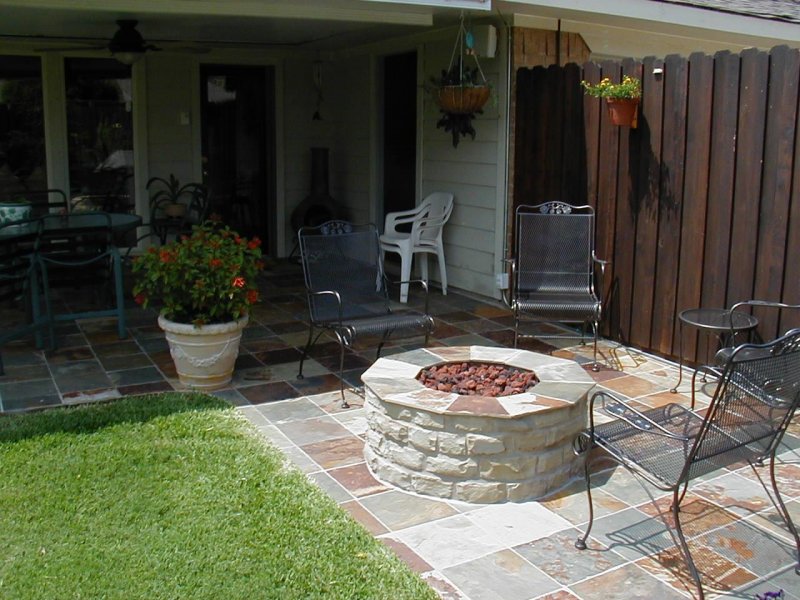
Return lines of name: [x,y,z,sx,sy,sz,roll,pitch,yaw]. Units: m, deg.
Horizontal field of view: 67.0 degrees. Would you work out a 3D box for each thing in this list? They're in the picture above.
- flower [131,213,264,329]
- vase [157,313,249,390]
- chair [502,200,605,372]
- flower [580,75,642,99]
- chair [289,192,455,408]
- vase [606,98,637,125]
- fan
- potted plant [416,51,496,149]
flower: [-1.595,-0.231,4.759,1.052,0.893,0.884,-4,14,-27]
vase: [-1.533,0.350,4.682,0.627,0.552,0.493,-1,14,-28]
chair: [1.456,-0.240,5.589,0.880,1.301,1.600,0,14,10]
flower: [1.766,-1.785,5.119,0.429,0.160,0.301,6,21,28]
chair: [-0.107,-0.314,5.668,1.783,2.021,1.762,-1,15,-28]
vase: [1.872,-1.596,5.089,0.286,0.185,0.265,-1,14,-1]
fan: [-2.519,-2.594,5.980,1.427,0.312,1.081,3,29,-1]
potted plant: [0.624,-2.163,6.543,0.589,0.960,0.671,-3,13,-21]
